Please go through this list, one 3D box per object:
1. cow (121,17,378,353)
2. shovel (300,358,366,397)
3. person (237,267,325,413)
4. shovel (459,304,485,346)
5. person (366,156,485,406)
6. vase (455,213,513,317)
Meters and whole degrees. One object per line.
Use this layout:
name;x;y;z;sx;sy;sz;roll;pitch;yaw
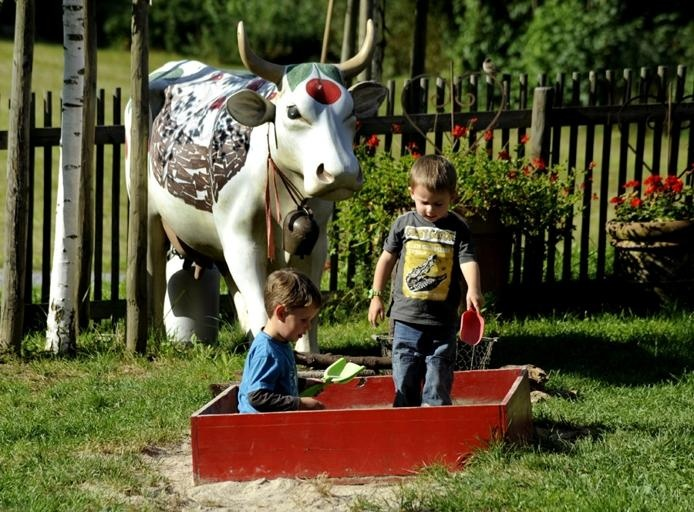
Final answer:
cow;-0.965;-0.529;12.276;2.564;2.810;1.020;7;5;43
shovel;-0.208;0.947;11.170;0.714;0.333;0.447;3;7;-11
person;-0.581;0.663;10.808;0.663;1.104;0.297;3;4;-5
shovel;0.940;0.540;11.181;0.183;0.288;0.159;3;4;4
person;0.570;0.199;11.190;0.905;1.967;0.490;3;4;2
vase;1.107;0.107;13.828;0.795;1.378;0.754;0;-3;-1
